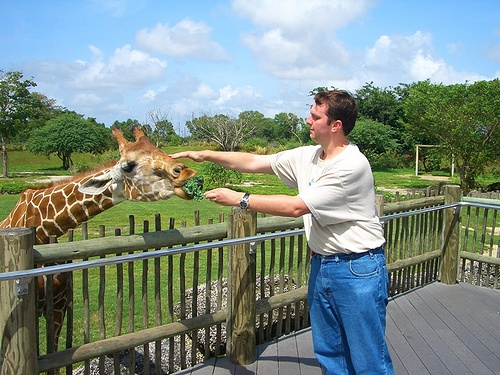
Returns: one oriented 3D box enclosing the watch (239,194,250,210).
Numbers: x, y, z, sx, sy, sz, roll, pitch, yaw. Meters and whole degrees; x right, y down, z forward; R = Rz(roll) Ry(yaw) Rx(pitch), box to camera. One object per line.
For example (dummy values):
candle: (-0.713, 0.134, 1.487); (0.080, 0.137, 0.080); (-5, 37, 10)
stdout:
watch: (-0.039, 0.124, 2.619); (0.060, 0.104, 0.102); (13, 40, 15)
